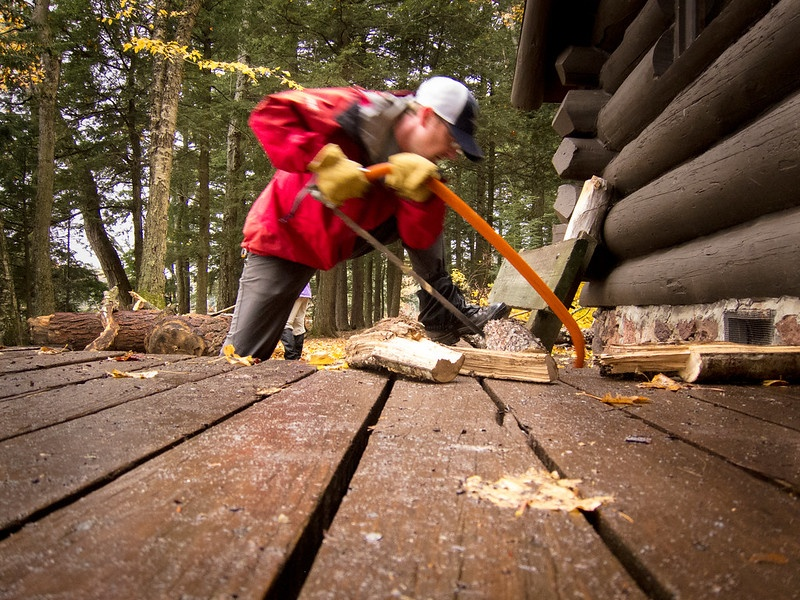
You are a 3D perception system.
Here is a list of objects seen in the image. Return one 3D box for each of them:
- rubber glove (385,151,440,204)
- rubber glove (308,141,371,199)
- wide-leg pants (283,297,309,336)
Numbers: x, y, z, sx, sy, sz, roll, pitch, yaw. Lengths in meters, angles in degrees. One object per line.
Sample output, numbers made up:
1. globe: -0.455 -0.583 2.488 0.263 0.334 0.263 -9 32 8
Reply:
1. rubber glove: 0.064 -0.694 2.636 0.282 0.269 0.170 2 5 2
2. rubber glove: -0.364 -0.705 2.662 0.354 0.280 0.145 46 24 22
3. wide-leg pants: -1.592 0.326 7.087 0.387 0.756 0.242 6 -12 -20
